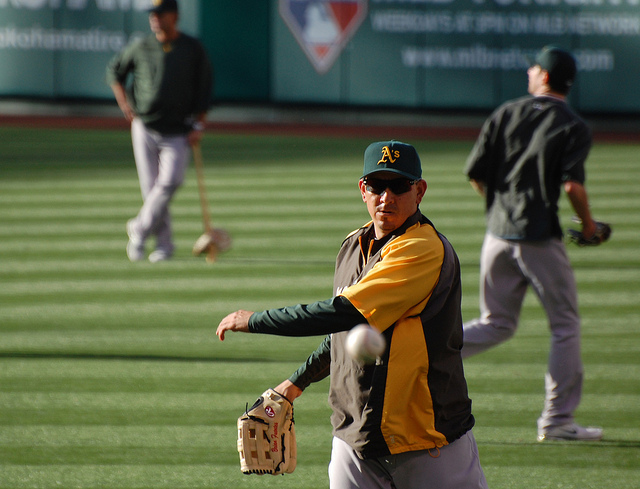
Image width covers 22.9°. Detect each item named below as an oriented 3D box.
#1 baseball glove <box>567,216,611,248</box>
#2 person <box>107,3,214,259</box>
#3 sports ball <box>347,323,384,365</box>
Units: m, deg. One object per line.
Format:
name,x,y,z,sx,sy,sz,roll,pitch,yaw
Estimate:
baseball glove,2.987,-0.165,17.376,0.468,0.168,0.279,12,-19,-35
person,-1.993,-1.434,19.907,1.267,3.190,0.614,-1,10,-4
sports ball,0.432,0.941,15.324,0.349,0.403,0.258,0,9,0
